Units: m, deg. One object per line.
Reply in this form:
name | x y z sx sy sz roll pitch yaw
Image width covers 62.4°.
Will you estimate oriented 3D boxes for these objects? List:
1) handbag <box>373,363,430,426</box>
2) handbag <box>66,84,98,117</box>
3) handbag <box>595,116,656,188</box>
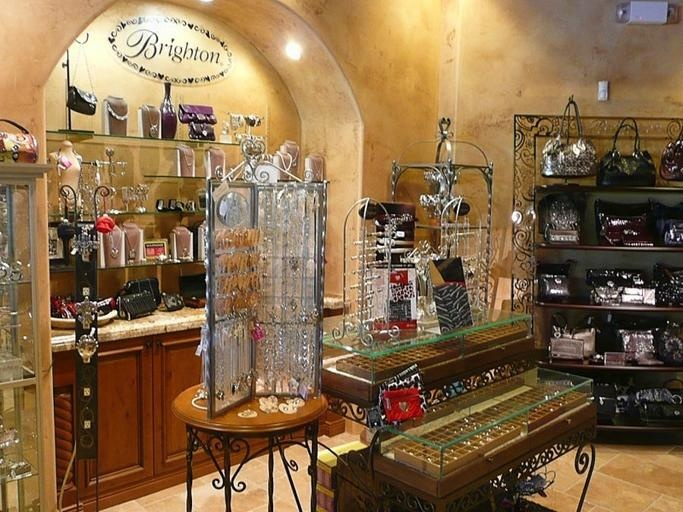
handbag | 0.312 0.719 2.861 0.258 0.222 0.071 -19 2 -32
handbag | -1.898 -1.126 4.110 0.121 0.232 0.244 3 -3 31
handbag | 2.547 -0.876 5.059 0.466 0.720 0.208 3 -18 20
